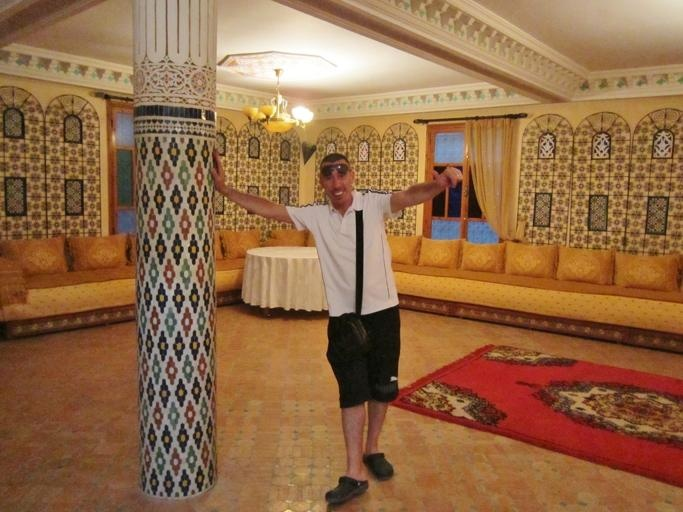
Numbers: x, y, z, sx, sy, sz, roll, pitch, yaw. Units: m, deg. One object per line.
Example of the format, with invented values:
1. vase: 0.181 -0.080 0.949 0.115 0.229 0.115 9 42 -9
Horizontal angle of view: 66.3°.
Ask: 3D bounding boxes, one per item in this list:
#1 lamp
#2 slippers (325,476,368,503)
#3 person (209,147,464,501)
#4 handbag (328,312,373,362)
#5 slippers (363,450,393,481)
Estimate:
1. lamp: -0.875 -2.123 7.163 0.986 0.857 0.929 5 8 18
2. slippers: 0.044 1.582 3.580 0.307 0.141 0.121 7 -12 -44
3. person: 0.058 0.469 3.568 1.268 2.302 0.553 0 10 -6
4. handbag: 0.063 0.526 3.483 0.208 0.374 0.270 -28 16 -38
5. slippers: 0.283 1.519 3.806 0.111 0.092 0.228 0 -1 -23
